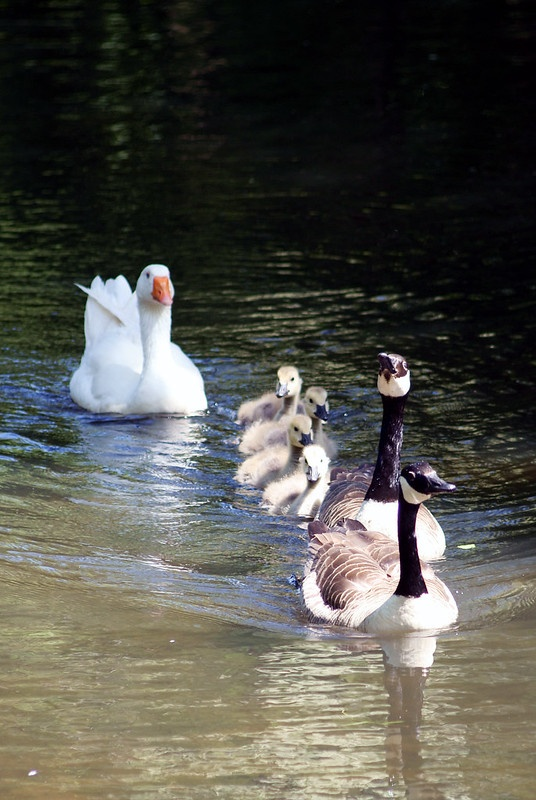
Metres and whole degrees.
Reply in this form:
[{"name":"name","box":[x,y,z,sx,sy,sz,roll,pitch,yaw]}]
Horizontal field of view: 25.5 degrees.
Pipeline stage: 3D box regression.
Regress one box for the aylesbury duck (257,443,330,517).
[{"name":"aylesbury duck","box":[0.247,0.742,9.960,0.450,0.462,0.748,15,20,-9]}]
